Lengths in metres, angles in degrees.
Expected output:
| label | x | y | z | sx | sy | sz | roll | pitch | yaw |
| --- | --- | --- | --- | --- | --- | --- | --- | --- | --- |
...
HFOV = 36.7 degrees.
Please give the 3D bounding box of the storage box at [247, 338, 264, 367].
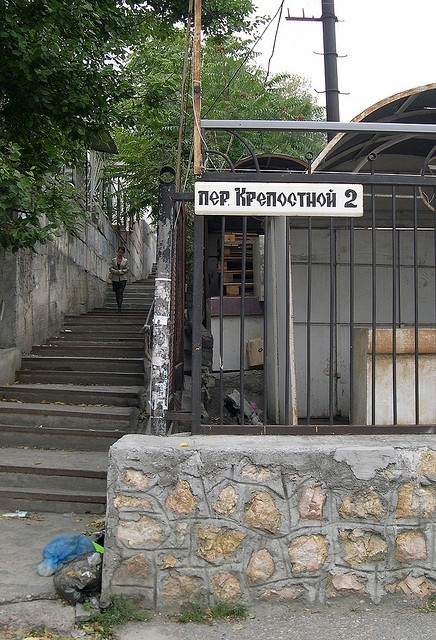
| label | x | y | z | sx | sy | sz | roll | pitch | yaw |
| --- | --- | --- | --- | --- | --- | --- | --- | --- | --- |
| storage box | 0.459 | 0.447 | 7.997 | 0.188 | 0.365 | 0.370 | -4 | 13 | -2 |
